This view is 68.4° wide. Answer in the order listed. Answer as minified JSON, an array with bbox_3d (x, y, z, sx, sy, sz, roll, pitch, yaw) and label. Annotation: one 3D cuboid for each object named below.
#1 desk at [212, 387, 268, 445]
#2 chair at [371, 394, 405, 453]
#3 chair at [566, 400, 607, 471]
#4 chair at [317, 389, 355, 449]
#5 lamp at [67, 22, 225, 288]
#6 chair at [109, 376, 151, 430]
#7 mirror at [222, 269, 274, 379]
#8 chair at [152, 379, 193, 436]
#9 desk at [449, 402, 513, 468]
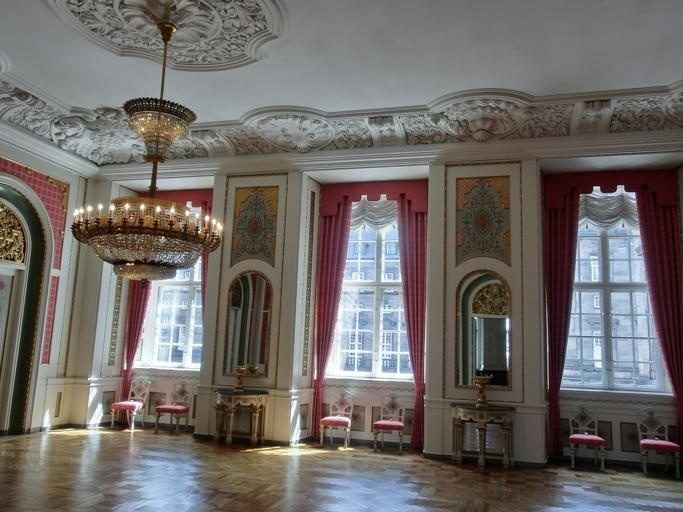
[{"bbox_3d":[-1.715,2.600,8.153,0.789,0.698,0.814,-5,-20,21],"label":"desk"},{"bbox_3d":[0.774,2.715,8.146,0.545,0.809,0.854,2,-8,4],"label":"chair"},{"bbox_3d":[3.662,2.692,7.473,0.518,0.801,0.848,-2,-9,25],"label":"chair"},{"bbox_3d":[-0.065,2.700,8.366,0.535,0.834,0.817,2,-8,1],"label":"chair"},{"bbox_3d":[-2.104,-1.195,5.698,1.454,3.001,1.437,6,-9,-27],"label":"lamp"},{"bbox_3d":[-3.886,2.710,9.340,0.628,0.889,1.073,5,-9,-20],"label":"chair"},{"bbox_3d":[-1.571,1.096,8.492,0.765,1.754,0.063,1,-15,6],"label":"mirror"},{"bbox_3d":[-2.983,2.698,9.034,0.583,0.849,0.624,3,-13,-8],"label":"chair"},{"bbox_3d":[2.029,2.579,7.249,0.898,0.761,0.432,-2,-12,19],"label":"desk"}]
